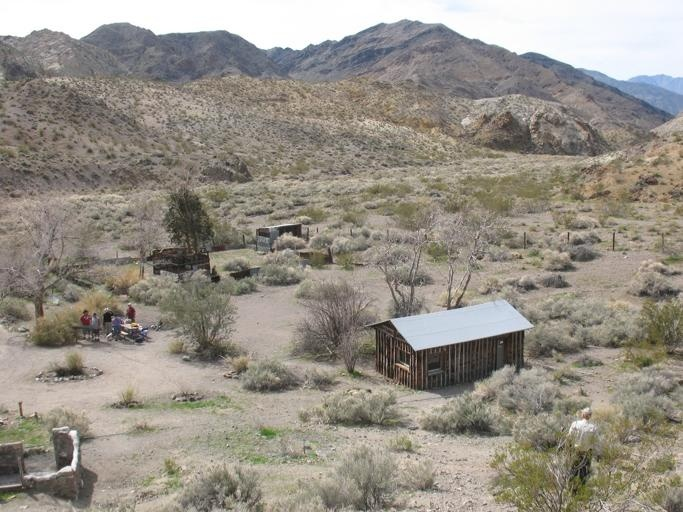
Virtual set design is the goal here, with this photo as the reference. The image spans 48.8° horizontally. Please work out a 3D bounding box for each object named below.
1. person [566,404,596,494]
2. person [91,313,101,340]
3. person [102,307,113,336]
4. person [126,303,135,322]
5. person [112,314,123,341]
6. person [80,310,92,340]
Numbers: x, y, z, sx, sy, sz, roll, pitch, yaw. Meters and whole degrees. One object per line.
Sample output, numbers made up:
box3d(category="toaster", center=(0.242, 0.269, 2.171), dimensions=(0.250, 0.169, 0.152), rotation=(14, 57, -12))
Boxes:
box3d(category="person", center=(7.650, 6.241, 24.545), dimensions=(0.835, 2.771, 0.703), rotation=(8, 16, 10))
box3d(category="person", center=(-11.783, 3.320, 36.159), dimensions=(0.375, 1.292, 0.650), rotation=(-2, 7, -20))
box3d(category="person", center=(-11.578, 3.121, 37.471), dimensions=(0.460, 1.095, 2.076), rotation=(-1, 6, -17))
box3d(category="person", center=(-10.581, 2.834, 37.912), dimensions=(0.348, 0.785, 1.174), rotation=(-2, 7, -21))
box3d(category="person", center=(-10.874, 3.473, 36.553), dimensions=(0.453, 0.976, 0.706), rotation=(-1, 7, -18))
box3d(category="person", center=(-12.316, 3.219, 36.403), dimensions=(0.449, 1.306, 1.152), rotation=(-2, 7, -22))
